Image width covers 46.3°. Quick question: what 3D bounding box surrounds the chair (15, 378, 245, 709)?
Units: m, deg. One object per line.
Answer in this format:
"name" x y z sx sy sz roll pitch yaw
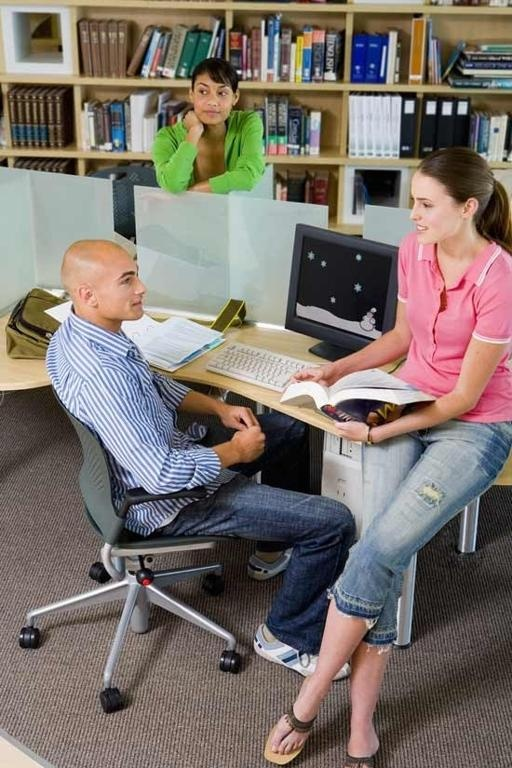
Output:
"chair" -0.305 0.311 1.870 0.725 0.890 0.817 -3 31 -5

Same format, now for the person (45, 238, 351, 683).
"person" -0.167 0.212 1.690 0.704 1.172 0.543 -8 21 -16

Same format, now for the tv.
"tv" 0.279 -0.290 1.922 0.388 0.392 0.140 23 50 34

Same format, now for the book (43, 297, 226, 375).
"book" -0.334 -0.169 2.128 0.501 0.070 0.295 23 41 25

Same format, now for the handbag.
"handbag" -0.773 -0.179 2.058 0.246 0.090 0.249 21 49 -12

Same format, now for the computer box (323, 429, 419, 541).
"computer box" 0.311 0.292 1.615 0.182 0.302 0.327 -1 1 24

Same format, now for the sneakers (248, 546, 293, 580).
"sneakers" 0.045 0.619 2.101 0.153 0.070 0.088 -27 37 -32

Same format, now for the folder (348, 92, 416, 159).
"folder" 0.837 -1.718 4.149 0.391 0.520 0.534 0 25 3
